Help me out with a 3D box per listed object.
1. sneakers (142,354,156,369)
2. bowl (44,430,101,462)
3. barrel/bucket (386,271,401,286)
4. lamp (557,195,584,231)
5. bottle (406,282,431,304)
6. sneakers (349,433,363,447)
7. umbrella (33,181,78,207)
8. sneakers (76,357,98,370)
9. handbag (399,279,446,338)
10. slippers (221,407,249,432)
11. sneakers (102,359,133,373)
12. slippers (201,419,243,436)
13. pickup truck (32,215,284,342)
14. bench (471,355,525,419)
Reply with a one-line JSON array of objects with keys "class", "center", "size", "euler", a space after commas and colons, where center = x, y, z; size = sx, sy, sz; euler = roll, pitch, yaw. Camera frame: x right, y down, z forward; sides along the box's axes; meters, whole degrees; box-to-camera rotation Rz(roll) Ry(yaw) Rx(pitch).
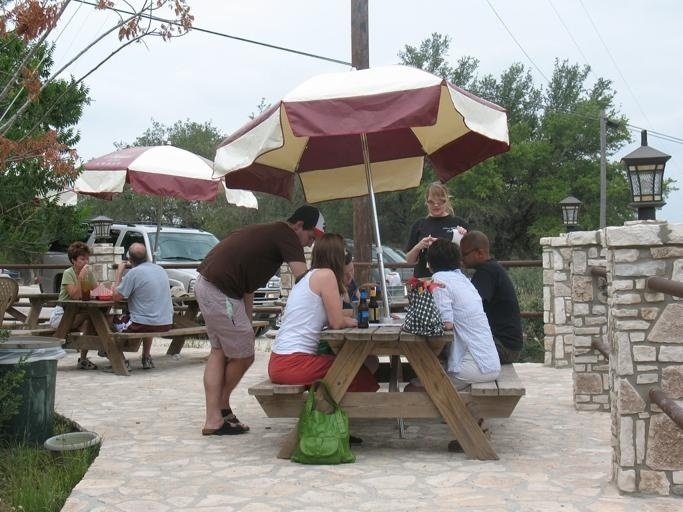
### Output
[{"class": "sneakers", "center": [-2.700, 1.468, 10.322], "size": [0.173, 0.172, 0.410], "euler": [1, -8, -13]}, {"class": "bowl", "center": [-2.252, 1.592, 6.238], "size": [0.437, 0.155, 0.479], "euler": [1, -3, 0]}, {"class": "barrel/bucket", "center": [0.903, 0.405, 13.175], "size": [0.231, 0.363, 0.206], "euler": [0, -11, -5]}, {"class": "lamp", "center": [5.869, -0.976, 18.992], "size": [0.692, 0.935, 0.569], "euler": [0, -1, 20]}, {"class": "bottle", "center": [0.637, 0.301, 6.061], "size": [0.192, 0.172, 0.155], "euler": [-1, 2, 9]}, {"class": "sneakers", "center": [0.128, 1.644, 6.637], "size": [0.102, 0.042, 0.136], "euler": [1, -2, -1]}, {"class": "umbrella", "center": [-5.038, -1.087, 12.944], "size": [1.027, 0.285, 0.298], "euler": [0, 17, 17]}, {"class": "sneakers", "center": [-3.505, 1.476, 10.214], "size": [0.330, 0.131, 0.120], "euler": [-4, -3, 29]}, {"class": "handbag", "center": [0.673, 0.415, 6.045], "size": [0.348, 0.459, 0.359], "euler": [0, -2, 5]}, {"class": "slippers", "center": [-0.950, 1.528, 6.960], "size": [0.383, 0.152, 0.126], "euler": [9, 5, 24]}, {"class": "sneakers", "center": [-3.086, 1.516, 10.151], "size": [0.359, 0.137, 0.261], "euler": [0, 2, -12]}, {"class": "slippers", "center": [-1.094, 1.587, 6.894], "size": [0.277, 0.088, 0.154], "euler": [0, -4, -8]}, {"class": "pickup truck", "center": [-4.288, -0.041, 15.743], "size": [4.858, 1.960, 2.576], "euler": [-3, -5, 31]}, {"class": "bench", "center": [1.268, 1.178, 6.180], "size": [0.451, 0.356, 0.736], "euler": [0, -3, 10]}]
